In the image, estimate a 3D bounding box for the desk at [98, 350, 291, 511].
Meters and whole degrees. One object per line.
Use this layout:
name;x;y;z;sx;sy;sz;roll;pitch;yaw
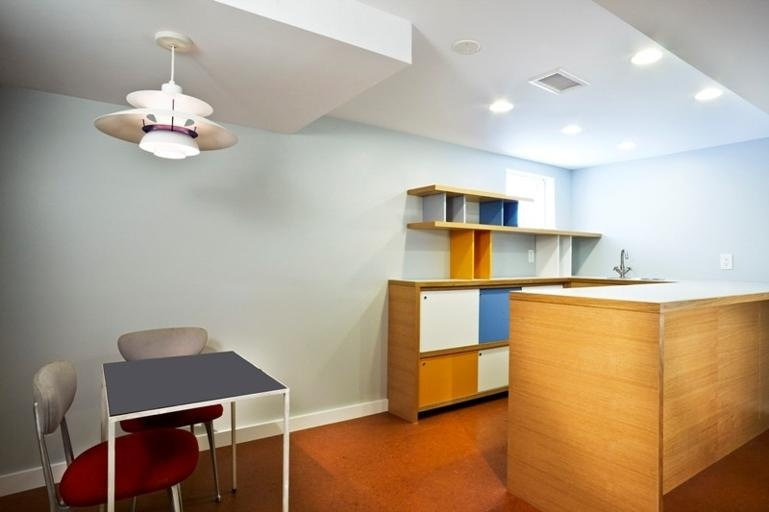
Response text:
desk;-1.274;0.904;3.443;1.203;1.162;1.048;-1;4;-31

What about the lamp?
lamp;-1.265;-0.956;3.118;0.757;0.639;0.751;4;2;34

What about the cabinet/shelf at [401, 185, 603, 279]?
cabinet/shelf;1.511;-0.218;5.977;2.821;0.898;0.442;0;0;-38

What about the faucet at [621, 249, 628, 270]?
faucet;2.859;0.031;6.235;0.095;0.213;0.120;2;11;13

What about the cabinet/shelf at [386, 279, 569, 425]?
cabinet/shelf;1.071;0.830;5.556;2.343;1.242;0.430;1;-2;-38
